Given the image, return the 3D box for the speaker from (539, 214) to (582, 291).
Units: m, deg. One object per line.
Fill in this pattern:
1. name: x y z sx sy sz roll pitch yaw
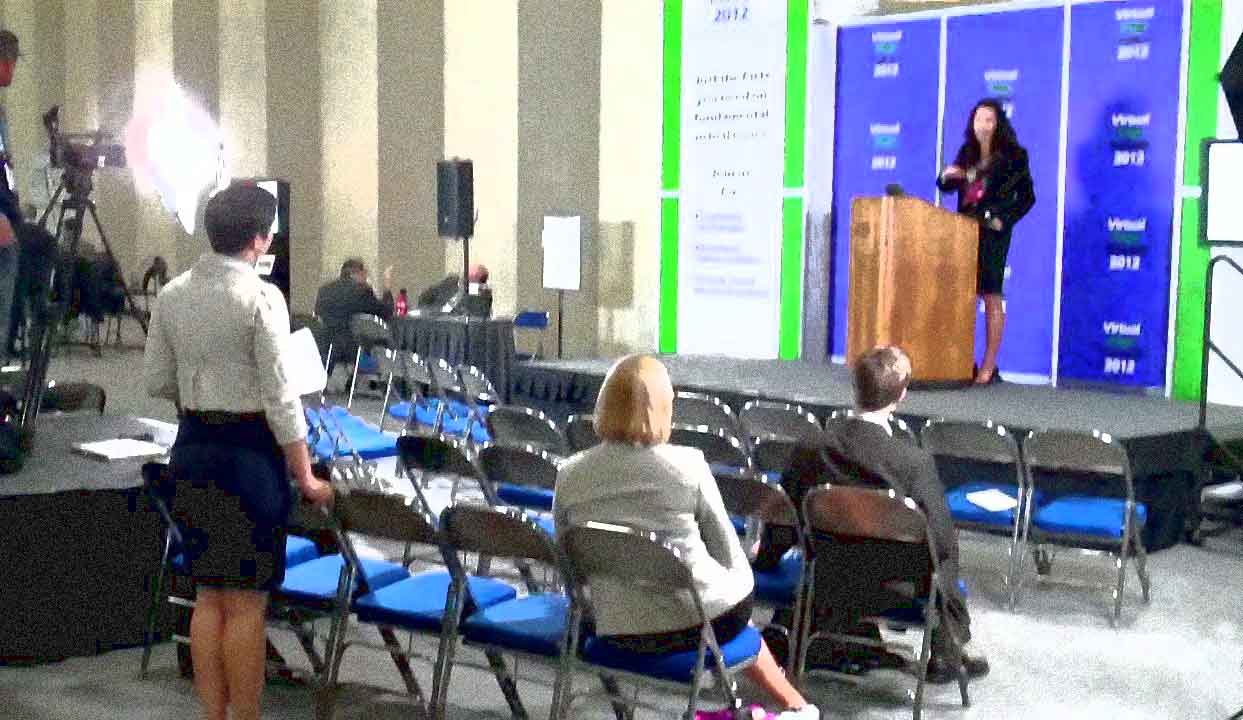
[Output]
1. speaker: -0.558 -0.976 12.250 0.360 0.687 0.282 0 8 -5

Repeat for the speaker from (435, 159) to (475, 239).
1. speaker: -1.224 -1.188 9.757 0.264 0.580 0.434 1 8 8

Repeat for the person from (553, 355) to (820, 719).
1. person: 0.245 0.883 6.305 1.134 1.762 0.383 0 8 -3
